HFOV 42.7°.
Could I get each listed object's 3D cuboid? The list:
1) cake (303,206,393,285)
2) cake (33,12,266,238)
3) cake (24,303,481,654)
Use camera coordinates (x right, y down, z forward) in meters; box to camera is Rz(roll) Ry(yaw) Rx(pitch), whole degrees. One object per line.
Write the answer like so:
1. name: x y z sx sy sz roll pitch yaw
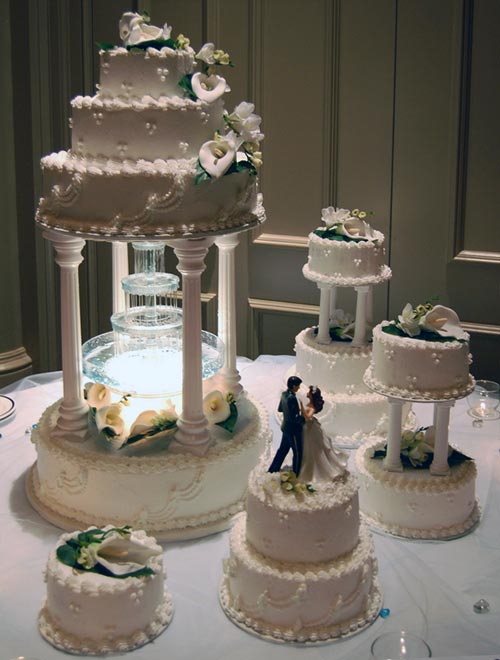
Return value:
1. cake: 0.705 -0.642 4.713 0.673 0.447 0.628 -3 12 -9
2. cake: -0.465 -0.960 3.413 1.321 0.995 1.243 8 20 22
3. cake: 0.547 0.604 3.178 0.673 1.269 1.588 12 16 38
